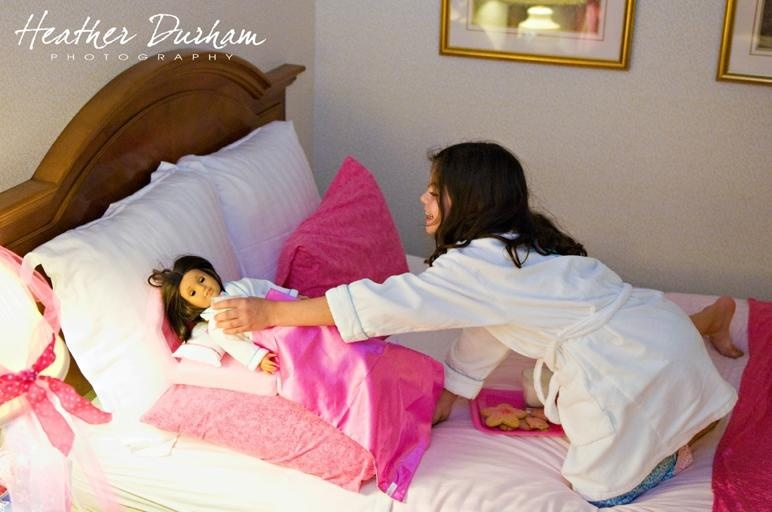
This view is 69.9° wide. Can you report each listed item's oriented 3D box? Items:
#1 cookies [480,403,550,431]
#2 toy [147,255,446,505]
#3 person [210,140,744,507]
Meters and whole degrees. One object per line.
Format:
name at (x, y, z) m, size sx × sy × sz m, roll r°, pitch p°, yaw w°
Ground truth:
cookies at (0.395, 0.498, 1.715) m, size 0.118 × 0.015 × 0.097 m, roll 4°, pitch 18°, yaw 3°
toy at (-0.328, 0.412, 1.684) m, size 0.842 × 0.253 × 0.511 m, roll 23°, pitch 44°, yaw -2°
person at (0.413, 0.146, 1.834) m, size 1.537 × 0.960 × 0.888 m, roll -8°, pitch 13°, yaw 17°
